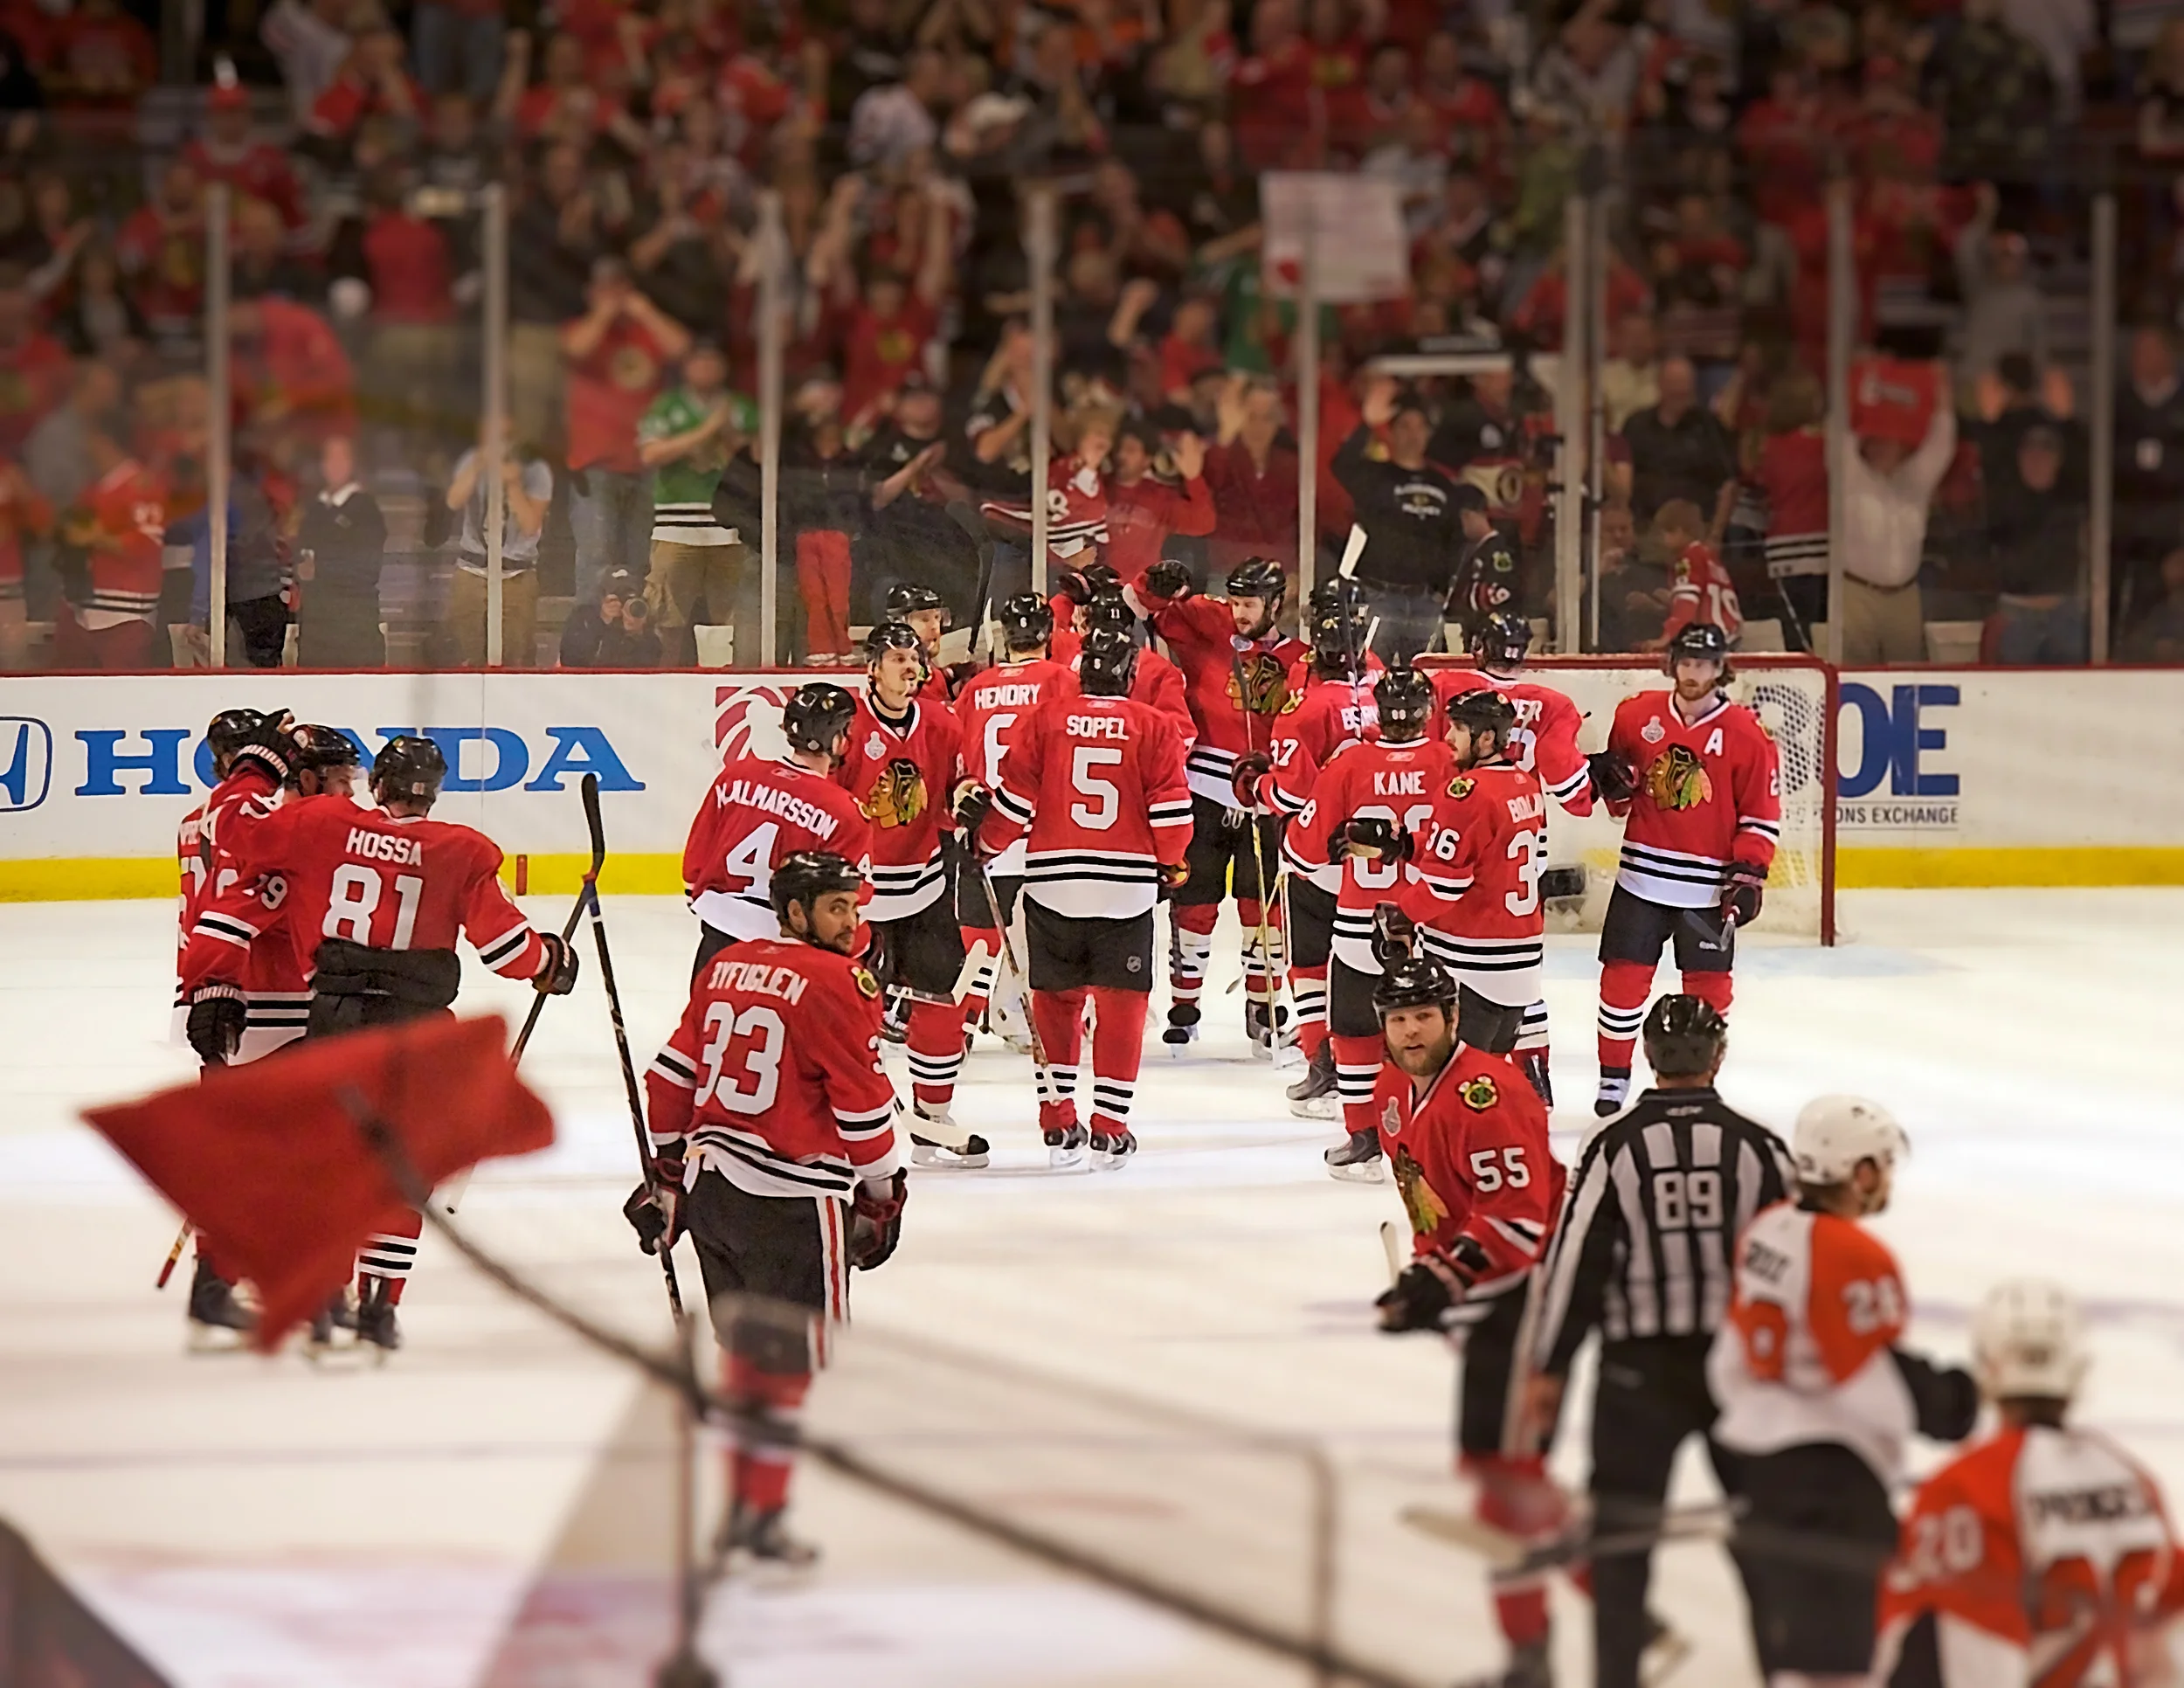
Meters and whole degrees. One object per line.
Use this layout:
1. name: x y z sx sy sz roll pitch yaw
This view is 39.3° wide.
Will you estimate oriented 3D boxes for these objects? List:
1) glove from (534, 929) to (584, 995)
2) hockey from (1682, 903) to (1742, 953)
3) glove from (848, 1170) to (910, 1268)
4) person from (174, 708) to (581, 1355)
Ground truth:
1. glove: -1.550 0.341 8.812 0.116 0.200 0.198 1 -3 -2
2. hockey: 2.175 0.290 10.612 0.207 0.148 0.104 0 3 -30
3. glove: -0.520 0.891 7.261 0.083 0.222 0.167 11 15 -15
4. person: -2.163 0.503 8.504 1.076 1.643 0.924 3 4 36
